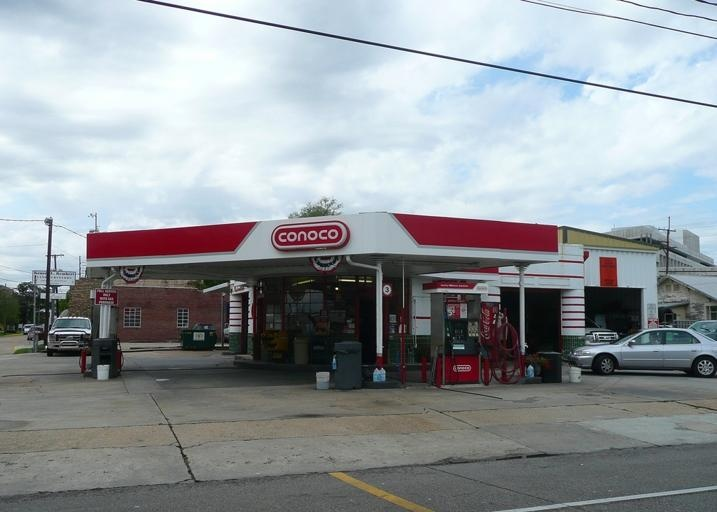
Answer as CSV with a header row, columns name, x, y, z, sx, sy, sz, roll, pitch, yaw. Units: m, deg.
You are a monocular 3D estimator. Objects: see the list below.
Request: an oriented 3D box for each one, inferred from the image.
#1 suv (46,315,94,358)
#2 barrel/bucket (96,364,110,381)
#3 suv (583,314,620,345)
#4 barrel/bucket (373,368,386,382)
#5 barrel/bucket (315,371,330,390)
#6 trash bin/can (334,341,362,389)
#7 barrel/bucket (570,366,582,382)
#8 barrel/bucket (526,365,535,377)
name,x,y,z,sx,sy,sz,roll,pitch,yaw
suv,-16.773,4.280,35.638,2.371,1.774,4.453,3,-21,-29
barrel/bucket,-8.377,3.833,20.083,0.354,0.466,0.450,2,-3,-29
suv,13.110,4.092,33.729,1.610,1.231,2.766,0,-10,-6
barrel/bucket,0.684,3.630,18.483,0.374,0.474,0.486,-6,-9,44
barrel/bucket,-1.072,3.717,18.200,0.351,0.475,0.465,1,-3,-5
trash bin/can,-0.310,3.245,18.047,0.780,1.349,0.365,1,-2,-5
barrel/bucket,7.121,3.915,20.094,0.360,0.462,0.394,1,-3,0
barrel/bucket,5.665,3.793,20.109,0.268,0.385,0.453,0,-3,15
